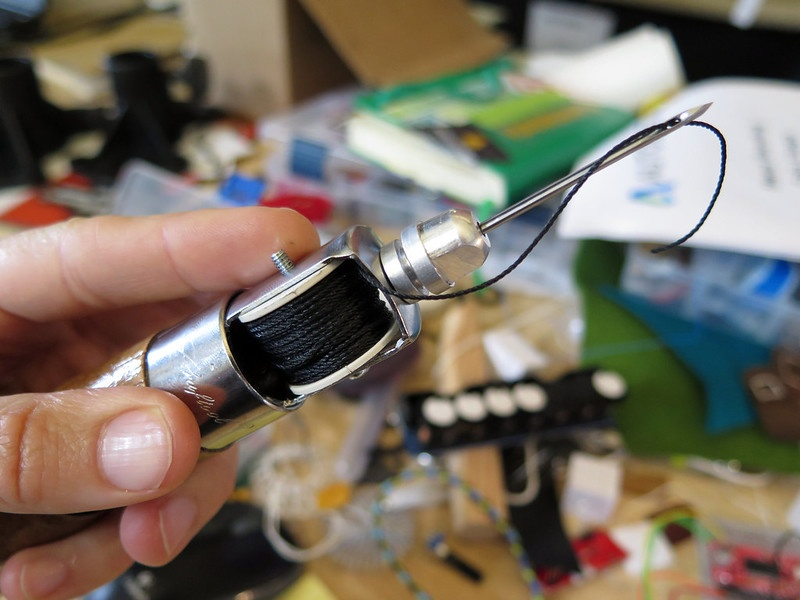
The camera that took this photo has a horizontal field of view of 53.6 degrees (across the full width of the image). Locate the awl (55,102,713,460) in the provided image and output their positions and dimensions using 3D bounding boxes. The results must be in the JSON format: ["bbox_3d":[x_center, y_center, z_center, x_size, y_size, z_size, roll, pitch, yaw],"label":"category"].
[{"bbox_3d":[-0.036,0.007,0.682,0.573,0.137,0.091,-29,91,18],"label":"awl"}]
